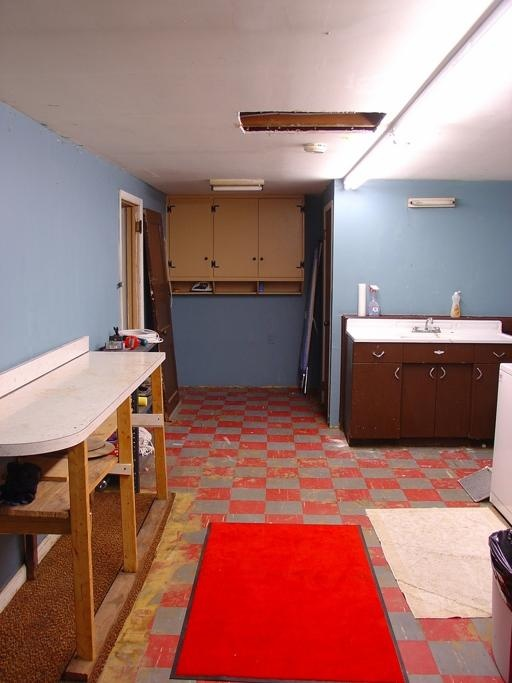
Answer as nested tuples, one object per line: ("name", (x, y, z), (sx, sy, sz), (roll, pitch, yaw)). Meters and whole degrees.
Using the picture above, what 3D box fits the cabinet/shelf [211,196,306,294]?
("cabinet/shelf", (0.032, -1.195, 5.946), (1.132, 1.042, 0.399), (0, 4, -1))

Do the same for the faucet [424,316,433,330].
("faucet", (1.591, -0.152, 4.626), (0.067, 0.115, 0.057), (2, 7, 12))

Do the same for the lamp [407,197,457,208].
("lamp", (1.632, -1.277, 4.594), (0.329, 0.106, 0.036), (0, 7, -2))

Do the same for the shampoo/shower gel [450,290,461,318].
("shampoo/shower gel", (1.895, -0.342, 4.767), (0.092, 0.253, 0.205), (3, 7, 21))

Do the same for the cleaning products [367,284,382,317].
("cleaning products", (1.125, -0.389, 4.777), (0.124, 0.301, 0.107), (2, 7, 10))
